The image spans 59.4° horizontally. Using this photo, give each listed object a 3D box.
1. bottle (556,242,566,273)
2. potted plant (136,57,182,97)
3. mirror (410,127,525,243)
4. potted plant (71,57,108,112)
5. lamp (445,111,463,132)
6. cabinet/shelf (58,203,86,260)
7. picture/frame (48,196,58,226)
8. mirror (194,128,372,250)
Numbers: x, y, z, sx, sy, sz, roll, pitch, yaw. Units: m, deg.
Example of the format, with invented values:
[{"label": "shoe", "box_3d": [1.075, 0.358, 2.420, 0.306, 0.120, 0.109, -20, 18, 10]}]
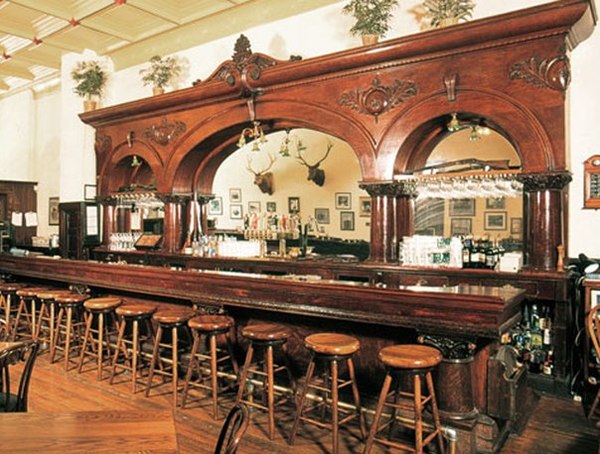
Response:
[{"label": "bottle", "box_3d": [3.036, 0.363, 6.114, 0.084, 0.313, 0.359, 0, -2, 27]}, {"label": "potted plant", "box_3d": [-2.560, -2.590, 9.409, 0.574, 0.508, 0.538, 3, 12, -2]}, {"label": "mirror", "box_3d": [2.742, -0.689, 8.390, 0.094, 2.461, 2.245, 6, -6, -42]}, {"label": "potted plant", "box_3d": [-4.191, -2.642, 10.398, 0.572, 0.724, 0.558, -4, 1, -32]}, {"label": "lamp", "box_3d": [1.963, -1.306, 6.684, 0.217, 0.227, 0.210, -6, 9, -20]}, {"label": "cabinet/shelf", "box_3d": [-4.734, 0.078, 10.850, 0.329, 1.154, 0.912, 3, -3, -40]}, {"label": "picture/frame", "box_3d": [-6.738, -0.444, 14.312, 0.043, 0.919, 0.846, 3, -4, -43]}, {"label": "mirror", "box_3d": [-0.203, -0.771, 10.898, 3.093, 1.954, 0.055, 1, -1, 32]}]
